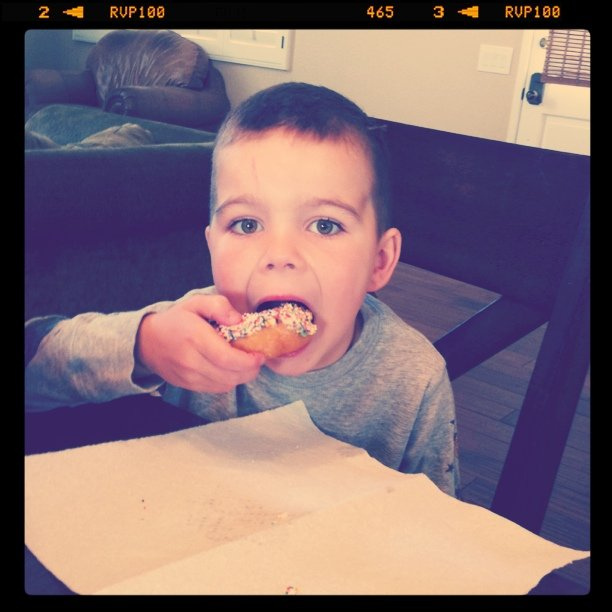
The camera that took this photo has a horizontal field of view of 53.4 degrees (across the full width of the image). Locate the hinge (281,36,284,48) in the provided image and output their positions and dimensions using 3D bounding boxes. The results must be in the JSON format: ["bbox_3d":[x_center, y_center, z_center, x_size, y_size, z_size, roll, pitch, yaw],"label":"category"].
[{"bbox_3d":[-0.031,-0.362,0.829,0.003,0.019,0.003,9,22,15],"label":"hinge"}]

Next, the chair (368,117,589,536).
[{"bbox_3d":[0.281,0.048,0.955,0.260,0.634,0.256,9,16,32],"label":"chair"}]

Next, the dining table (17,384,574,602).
[{"bbox_3d":[-0.027,0.270,0.818,0.713,0.179,0.278,7,21,8],"label":"dining table"}]
